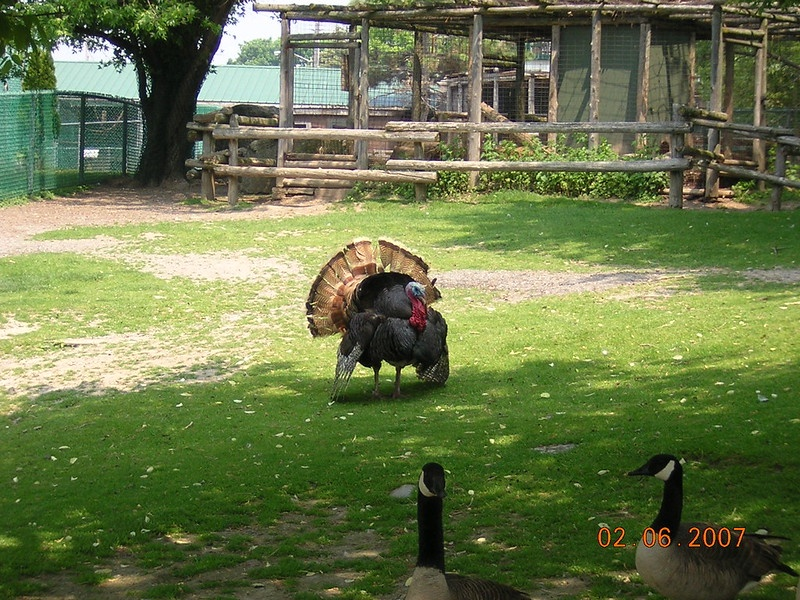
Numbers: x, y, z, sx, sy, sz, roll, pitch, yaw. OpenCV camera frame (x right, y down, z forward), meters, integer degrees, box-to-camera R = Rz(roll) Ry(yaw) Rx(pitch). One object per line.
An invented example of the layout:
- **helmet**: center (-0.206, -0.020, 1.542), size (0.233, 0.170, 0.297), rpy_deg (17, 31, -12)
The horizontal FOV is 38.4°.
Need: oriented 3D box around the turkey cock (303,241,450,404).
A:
- **turkey cock**: center (-0.210, 0.328, 16.786), size (2.048, 1.776, 2.705), rpy_deg (-13, 16, -26)
